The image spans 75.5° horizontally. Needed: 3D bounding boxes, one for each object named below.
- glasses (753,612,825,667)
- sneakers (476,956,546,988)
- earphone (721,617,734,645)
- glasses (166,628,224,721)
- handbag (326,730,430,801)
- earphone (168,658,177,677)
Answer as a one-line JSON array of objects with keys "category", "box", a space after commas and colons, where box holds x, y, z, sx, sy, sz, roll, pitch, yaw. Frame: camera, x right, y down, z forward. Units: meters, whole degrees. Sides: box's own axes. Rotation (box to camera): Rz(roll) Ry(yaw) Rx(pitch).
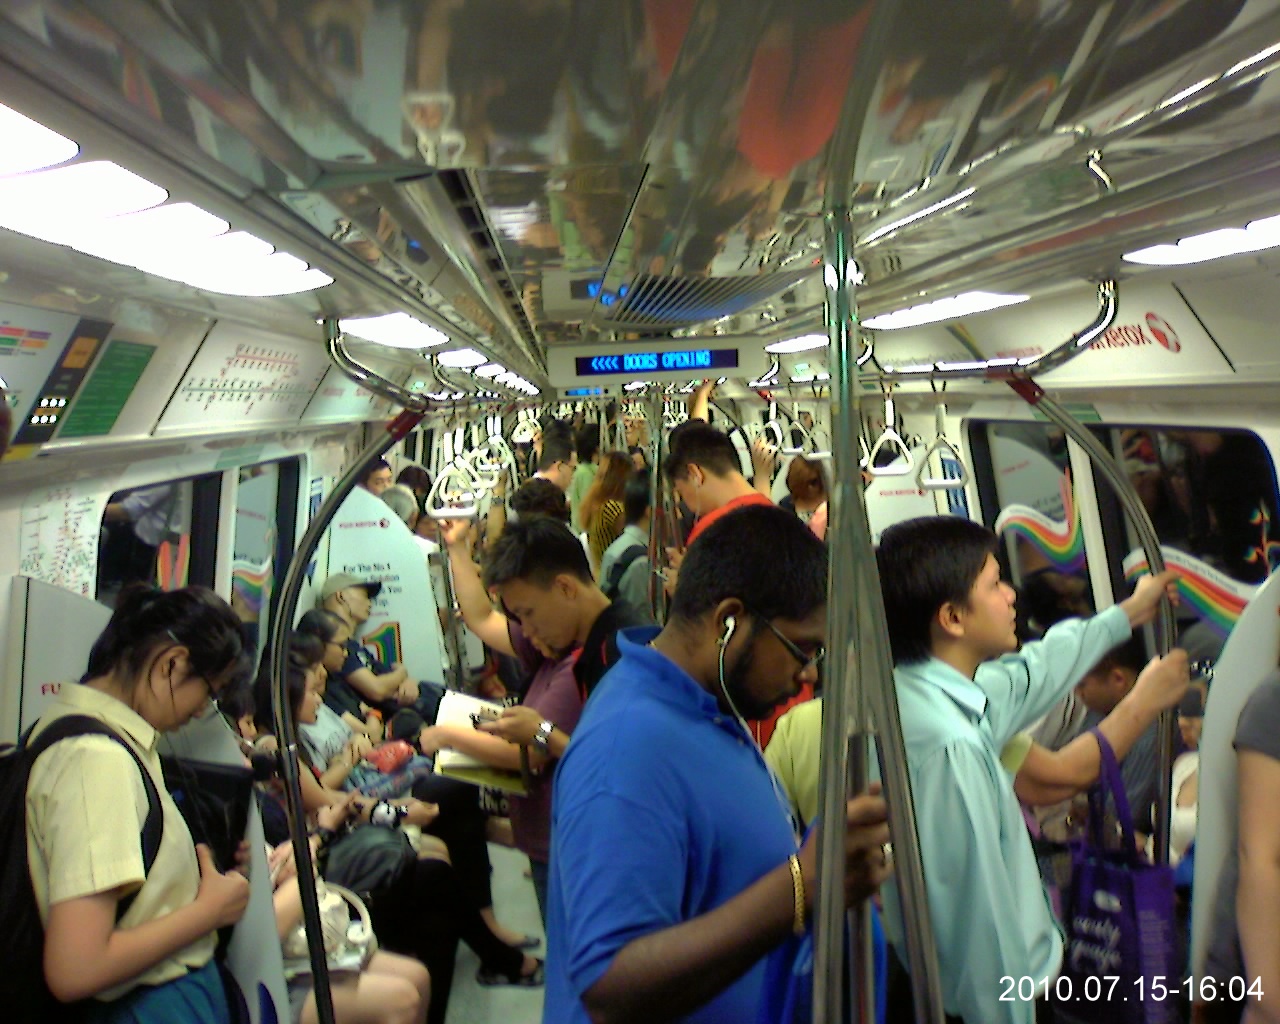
[{"category": "glasses", "box": [0.306, 0.270, 1.687, 0.033, 0.109, 0.102, -30, -13, 9]}, {"category": "sneakers", "box": [-0.623, 2.333, 4.182, 0.364, 0.161, 0.129, -3, 4, -3]}, {"category": "earphone", "box": [0.180, 0.245, 1.684, 0.020, 0.055, 0.014, 6, 13, -4]}, {"category": "glasses", "box": [-1.144, 0.414, 2.127, 0.056, 0.183, 0.174, -38, -4, -16]}, {"category": "handbag", "box": [-1.327, 1.326, 4.261, 0.351, 0.159, 0.303, 13, 29, -28]}, {"category": "earphone", "box": [-1.184, 0.402, 2.112, 0.012, 0.042, 0.034, 3, -30, -24]}]
